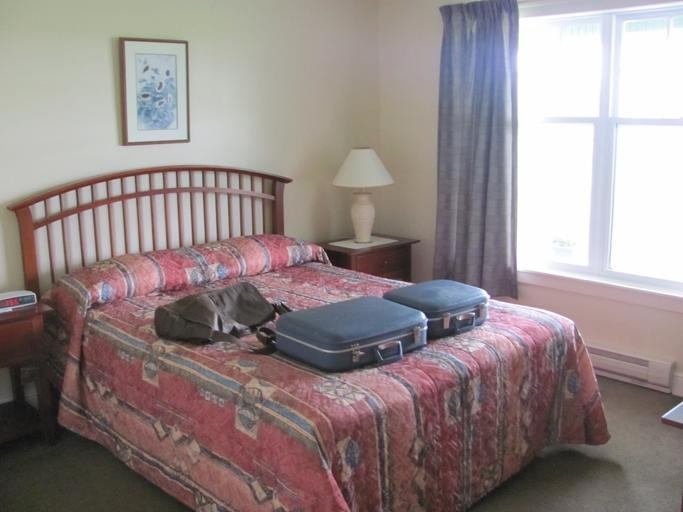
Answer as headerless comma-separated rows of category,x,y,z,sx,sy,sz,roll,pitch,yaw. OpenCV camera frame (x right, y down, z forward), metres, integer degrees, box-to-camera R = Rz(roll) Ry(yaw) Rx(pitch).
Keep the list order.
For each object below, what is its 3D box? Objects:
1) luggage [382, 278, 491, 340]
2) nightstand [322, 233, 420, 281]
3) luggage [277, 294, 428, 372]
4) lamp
luggage,0.491,0.265,2.789,0.460,0.174,0.495,11,18,38
nightstand,0.202,-0.109,4.315,0.394,0.542,0.590,14,21,39
luggage,0.003,0.332,2.337,0.378,0.125,0.369,-6,13,-42
lamp,0.174,-0.472,4.406,0.548,0.766,0.548,2,6,26
